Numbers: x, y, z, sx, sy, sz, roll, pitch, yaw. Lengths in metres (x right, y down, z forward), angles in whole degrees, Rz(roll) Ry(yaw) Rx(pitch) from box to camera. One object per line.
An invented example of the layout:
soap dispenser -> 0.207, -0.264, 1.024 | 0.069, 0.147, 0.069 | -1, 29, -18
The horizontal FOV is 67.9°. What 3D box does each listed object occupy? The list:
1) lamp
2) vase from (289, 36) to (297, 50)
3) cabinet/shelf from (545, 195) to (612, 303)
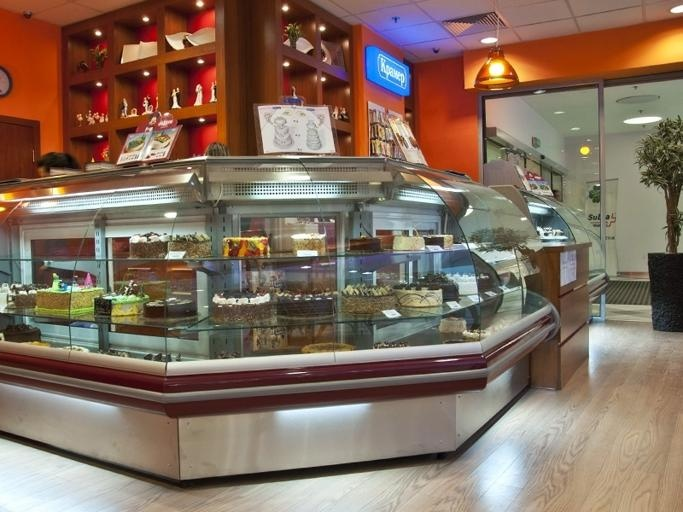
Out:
lamp -> 1.623, -1.976, 5.330 | 0.439, 0.385, 0.430 | 1, 8, 14
vase -> -0.521, -2.266, 5.464 | 0.080, 0.148, 0.199 | -1, 7, -3
cabinet/shelf -> 2.340, -0.090, 5.009 | 0.671, 1.019, 1.640 | -1, 0, 23
